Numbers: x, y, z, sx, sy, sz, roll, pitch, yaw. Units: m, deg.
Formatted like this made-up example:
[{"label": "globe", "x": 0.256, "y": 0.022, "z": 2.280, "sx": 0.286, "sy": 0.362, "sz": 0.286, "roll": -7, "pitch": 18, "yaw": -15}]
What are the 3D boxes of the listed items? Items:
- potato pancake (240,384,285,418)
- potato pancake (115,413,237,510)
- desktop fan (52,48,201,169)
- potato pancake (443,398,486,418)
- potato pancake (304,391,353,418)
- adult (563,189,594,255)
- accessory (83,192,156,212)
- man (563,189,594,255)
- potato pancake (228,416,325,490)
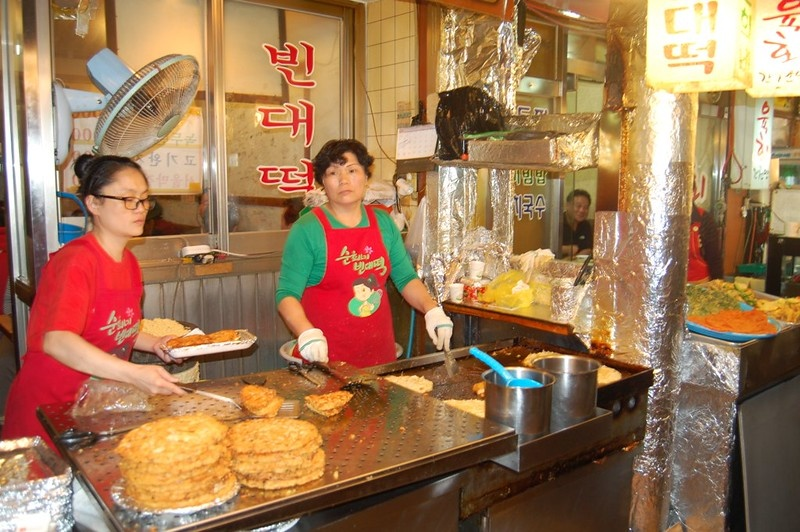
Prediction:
[{"label": "potato pancake", "x": -0.539, "y": 0.528, "z": 2.176, "sx": 0.166, "sy": 0.085, "sz": 0.222, "roll": -5, "pitch": 7, "yaw": -18}, {"label": "potato pancake", "x": -0.725, "y": 0.582, "z": 1.797, "sx": 0.331, "sy": 0.257, "sz": 0.282, "roll": -3, "pitch": 8, "yaw": -33}, {"label": "desktop fan", "x": -1.707, "y": -0.976, "z": 3.341, "sx": 1.204, "sy": 0.724, "sz": 0.687, "roll": 3, "pitch": 9, "yaw": 40}, {"label": "potato pancake", "x": 0.279, "y": 0.596, "z": 2.362, "sx": 0.163, "sy": 0.022, "sz": 0.161, "roll": -2, "pitch": 7, "yaw": 4}, {"label": "potato pancake", "x": -0.282, "y": 0.544, "z": 2.214, "sx": 0.196, "sy": 0.067, "sz": 0.148, "roll": -3, "pitch": 7, "yaw": -9}, {"label": "adult", "x": 2.025, "y": -0.484, "z": 6.286, "sx": 0.324, "sy": 0.778, "sz": 0.662, "roll": 0, "pitch": 7, "yaw": 17}, {"label": "accessory", "x": -1.310, "y": -0.299, "z": 2.569, "sx": 0.202, "sy": 0.059, "sz": 0.200, "roll": 3, "pitch": 4, "yaw": 35}, {"label": "man", "x": 2.025, "y": -0.484, "z": 6.286, "sx": 0.324, "sy": 0.778, "sz": 0.662, "roll": 0, "pitch": 7, "yaw": 17}, {"label": "potato pancake", "x": -0.405, "y": 0.601, "z": 1.865, "sx": 0.241, "sy": 0.192, "sz": 0.254, "roll": 12, "pitch": 12, "yaw": 42}]
